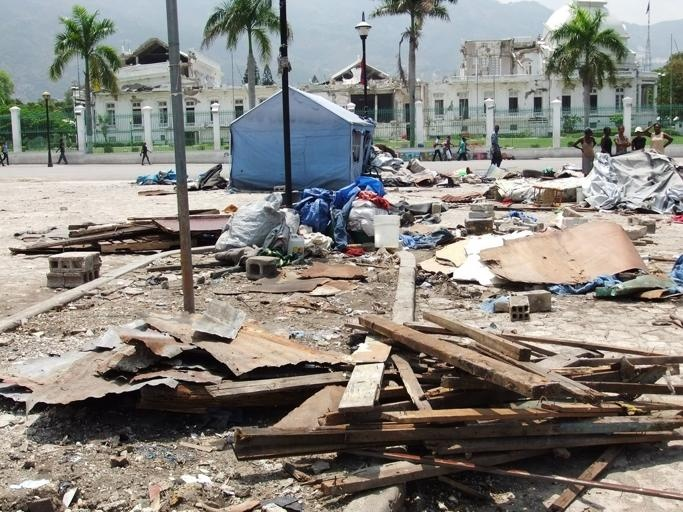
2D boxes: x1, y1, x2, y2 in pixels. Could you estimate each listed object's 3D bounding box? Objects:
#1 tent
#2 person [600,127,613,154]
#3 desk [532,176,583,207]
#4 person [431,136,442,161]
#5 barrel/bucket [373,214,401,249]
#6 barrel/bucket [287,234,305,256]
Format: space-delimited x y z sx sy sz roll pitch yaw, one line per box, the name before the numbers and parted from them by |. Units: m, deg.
tent | -1.124 -3.448 19.691 5.062 2.634 4.282 1 11 8
person | 9.152 -3.885 21.741 0.333 0.923 1.363 2 7 21
desk | 5.543 -1.694 16.286 1.407 0.415 1.277 4 17 27
person | 5.147 -5.650 33.793 0.567 1.285 1.572 0 7 8
barrel/bucket | 0.744 -0.383 10.393 0.421 0.532 0.467 0 8 3
barrel/bucket | -0.693 -0.163 9.578 0.223 0.303 0.399 0 7 6
